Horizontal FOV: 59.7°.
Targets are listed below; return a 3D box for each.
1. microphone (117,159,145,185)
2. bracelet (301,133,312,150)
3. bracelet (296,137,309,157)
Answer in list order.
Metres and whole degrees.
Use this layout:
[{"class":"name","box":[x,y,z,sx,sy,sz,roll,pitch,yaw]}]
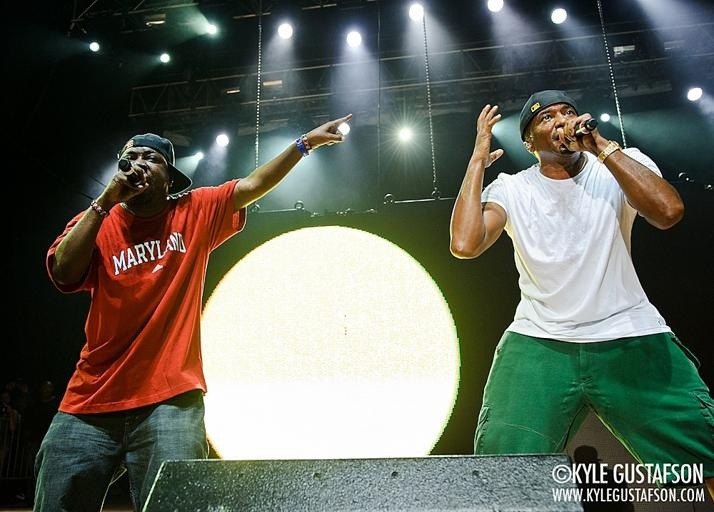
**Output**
[{"class":"microphone","box":[-1.498,-0.517,3.905,0.077,0.085,0.263,-1,-10,8]},{"class":"bracelet","box":[-0.371,-0.776,4.203,0.079,0.093,0.091,-1,41,1]},{"class":"bracelet","box":[-0.412,-0.717,4.213,0.083,0.137,0.115,-9,-18,-18]}]
